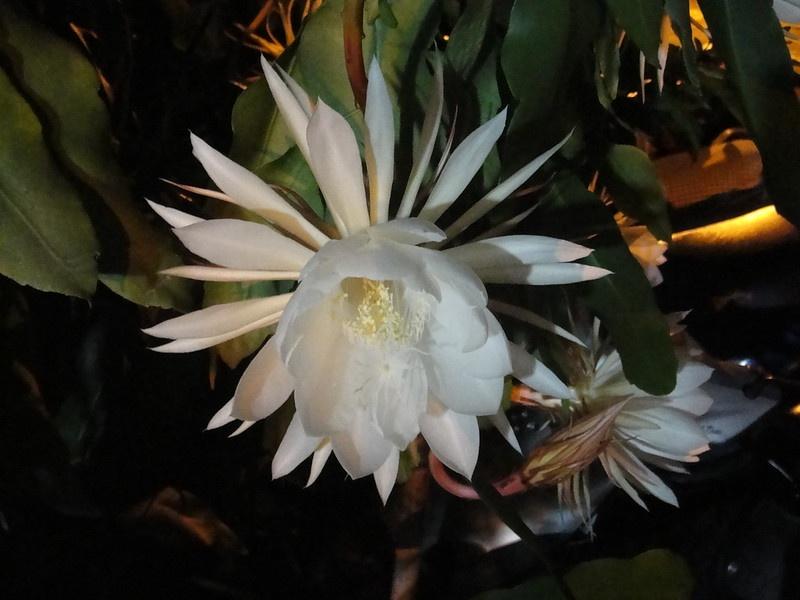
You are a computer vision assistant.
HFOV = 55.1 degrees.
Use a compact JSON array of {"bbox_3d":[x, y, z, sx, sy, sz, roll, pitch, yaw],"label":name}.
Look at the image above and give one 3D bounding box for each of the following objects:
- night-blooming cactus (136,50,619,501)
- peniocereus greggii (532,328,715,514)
[{"bbox_3d":[-0.079,-0.040,1.513,0.675,0.767,0.420,-12,15,-2],"label":"night-blooming cactus"},{"bbox_3d":[0.427,0.224,1.473,0.339,0.334,0.229,3,-2,39],"label":"peniocereus greggii"}]
